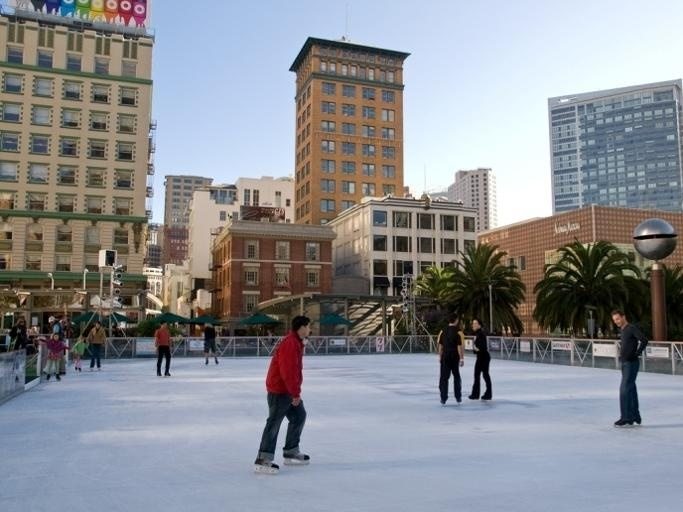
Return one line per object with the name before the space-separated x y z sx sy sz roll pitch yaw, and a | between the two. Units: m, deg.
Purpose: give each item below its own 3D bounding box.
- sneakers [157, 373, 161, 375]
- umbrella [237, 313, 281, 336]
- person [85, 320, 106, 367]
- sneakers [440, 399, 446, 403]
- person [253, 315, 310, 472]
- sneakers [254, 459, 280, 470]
sneakers | -7.181 4.689 28.476 0.118 0.175 0.171 1 -2 -22
umbrella | -6.855 5.790 61.247 2.469 1.370 2.580 5 -10 -23
person | -10.523 3.787 31.123 0.684 2.130 0.827 1 8 -4
sneakers | 2.858 4.094 20.264 0.130 0.162 0.323 -1 -6 8
person | -1.129 2.693 14.287 0.979 3.019 1.047 0 -5 -2
sneakers | -1.447 4.067 13.981 0.446 0.248 0.136 0 -5 -2
